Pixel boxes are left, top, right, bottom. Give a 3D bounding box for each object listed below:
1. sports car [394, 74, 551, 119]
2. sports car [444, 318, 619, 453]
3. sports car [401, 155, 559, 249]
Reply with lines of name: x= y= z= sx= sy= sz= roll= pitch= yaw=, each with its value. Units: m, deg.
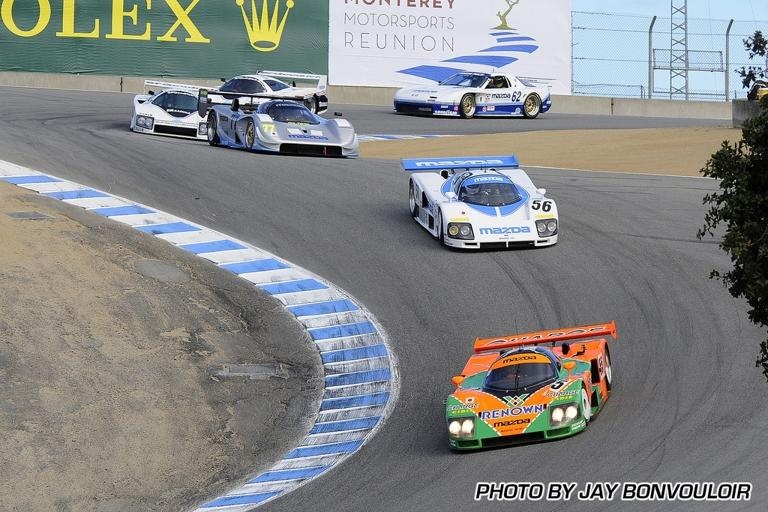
sports car: x=3.609 y=-6.191 z=31.990 sx=4.349 sy=1.220 sz=2.486 roll=2 pitch=7 yaw=-29
sports car: x=2.130 y=1.935 z=11.999 sx=2.041 sy=1.086 sz=2.583 roll=6 pitch=18 yaw=20
sports car: x=2.008 y=-1.298 z=18.098 sx=2.122 sy=0.976 sz=3.040 roll=-6 pitch=22 yaw=-14
